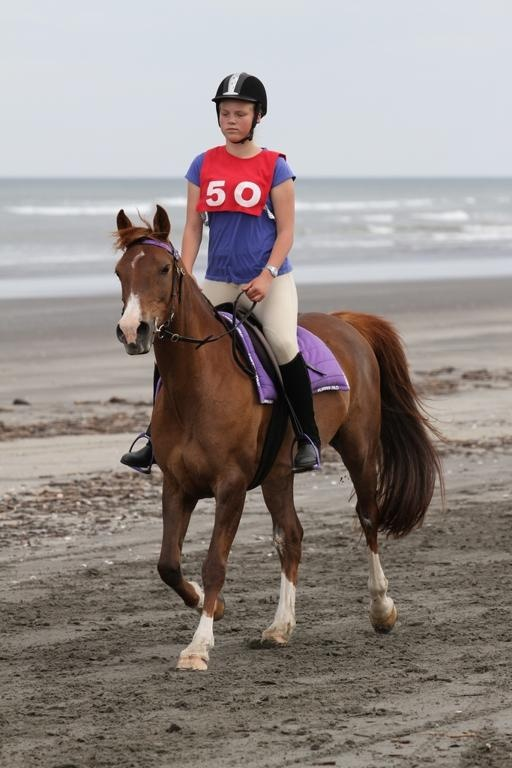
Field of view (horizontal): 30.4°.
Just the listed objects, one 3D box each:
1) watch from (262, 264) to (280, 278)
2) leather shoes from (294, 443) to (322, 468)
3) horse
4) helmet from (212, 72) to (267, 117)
[{"bbox_3d":[0.081,-0.530,4.437,0.067,0.036,0.060,37,4,24],"label":"watch"},{"bbox_3d":[0.247,0.342,4.547,0.108,0.104,0.265,-2,-5,3],"label":"leather shoes"},{"bbox_3d":[0.024,0.319,4.869,0.783,2.106,3.062,-4,-4,31],"label":"horse"},{"bbox_3d":[-0.074,-1.367,4.430,0.242,0.187,0.268,-1,4,-2],"label":"helmet"}]
